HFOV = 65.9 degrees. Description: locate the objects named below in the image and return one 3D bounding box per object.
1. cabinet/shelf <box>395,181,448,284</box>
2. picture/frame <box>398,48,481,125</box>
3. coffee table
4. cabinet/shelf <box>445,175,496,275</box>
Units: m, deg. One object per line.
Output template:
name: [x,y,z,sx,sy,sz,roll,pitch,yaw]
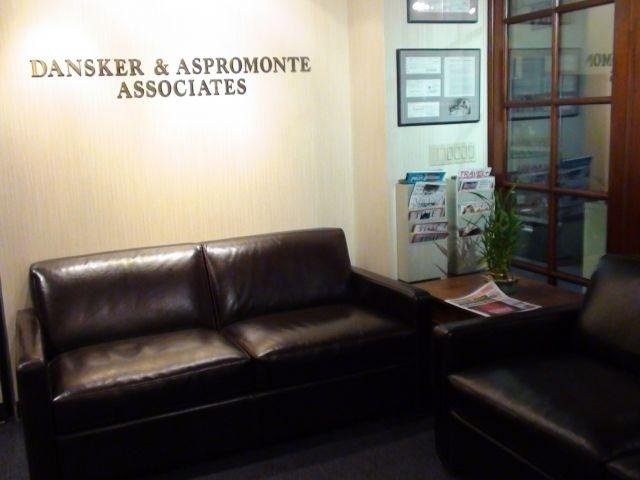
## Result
cabinet/shelf: [0.744,-0.054,3.419,0.345,0.747,0.169,-3,-15,28]
picture/frame: [0.838,-1.058,3.434,0.620,0.502,0.031,12,28,34]
coffee table: [0.854,0.334,2.470,0.579,0.439,0.779,-10,18,-27]
cabinet/shelf: [1.034,-0.159,3.479,0.332,0.702,0.242,-5,10,-7]
